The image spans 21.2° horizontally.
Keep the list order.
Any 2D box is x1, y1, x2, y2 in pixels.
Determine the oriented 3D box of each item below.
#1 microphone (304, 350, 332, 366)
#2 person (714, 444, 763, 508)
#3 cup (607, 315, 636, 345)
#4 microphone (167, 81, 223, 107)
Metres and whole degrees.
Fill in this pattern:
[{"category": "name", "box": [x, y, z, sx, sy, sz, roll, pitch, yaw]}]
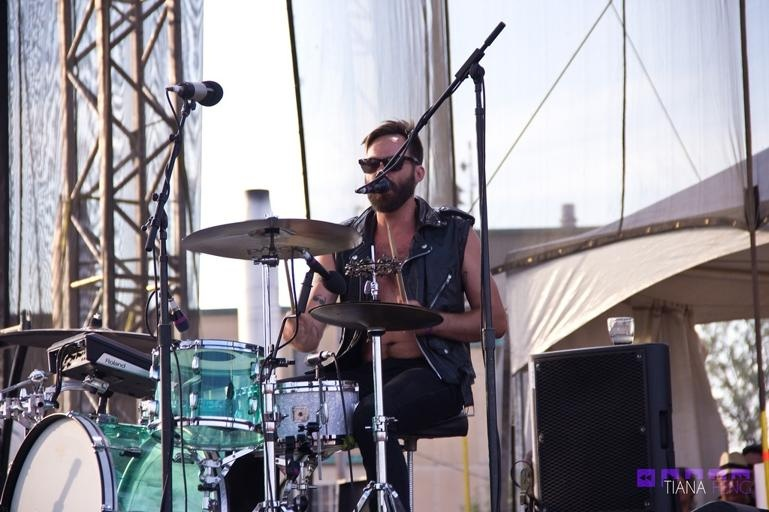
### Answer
[{"category": "microphone", "box": [-0.585, 0.847, 16.735, 0.093, 0.125, 0.346, -7, -11, -42]}, {"category": "person", "box": [3.197, 2.019, 18.680, 0.376, 0.599, 0.865, -3, -14, 10]}, {"category": "cup", "box": [1.907, 0.594, 16.659, 0.198, 0.272, 0.210, 1, -8, 0]}, {"category": "microphone", "box": [-1.536, -1.314, 16.608, 0.201, 0.213, 0.376, -8, -11, 42]}]
